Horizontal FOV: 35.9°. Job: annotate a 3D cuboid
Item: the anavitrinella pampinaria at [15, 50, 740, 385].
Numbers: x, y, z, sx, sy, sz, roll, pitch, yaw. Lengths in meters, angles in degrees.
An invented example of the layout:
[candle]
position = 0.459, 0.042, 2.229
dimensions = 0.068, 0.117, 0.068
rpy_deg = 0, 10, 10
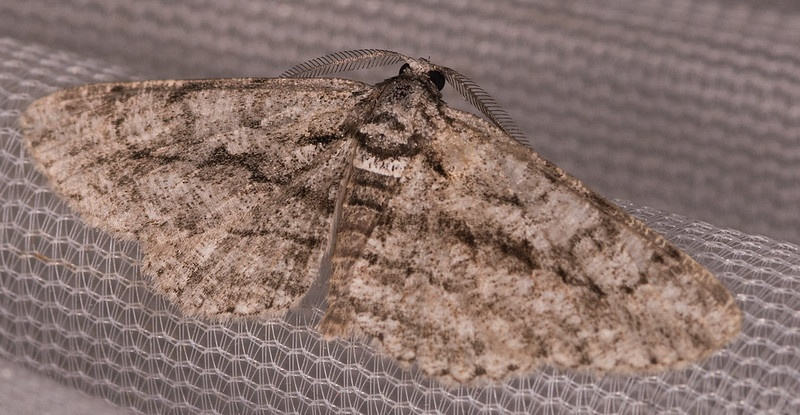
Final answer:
[anavitrinella pampinaria]
position = -0.178, 0.129, 6.551
dimensions = 3.698, 0.585, 1.557
rpy_deg = 20, -84, 4
